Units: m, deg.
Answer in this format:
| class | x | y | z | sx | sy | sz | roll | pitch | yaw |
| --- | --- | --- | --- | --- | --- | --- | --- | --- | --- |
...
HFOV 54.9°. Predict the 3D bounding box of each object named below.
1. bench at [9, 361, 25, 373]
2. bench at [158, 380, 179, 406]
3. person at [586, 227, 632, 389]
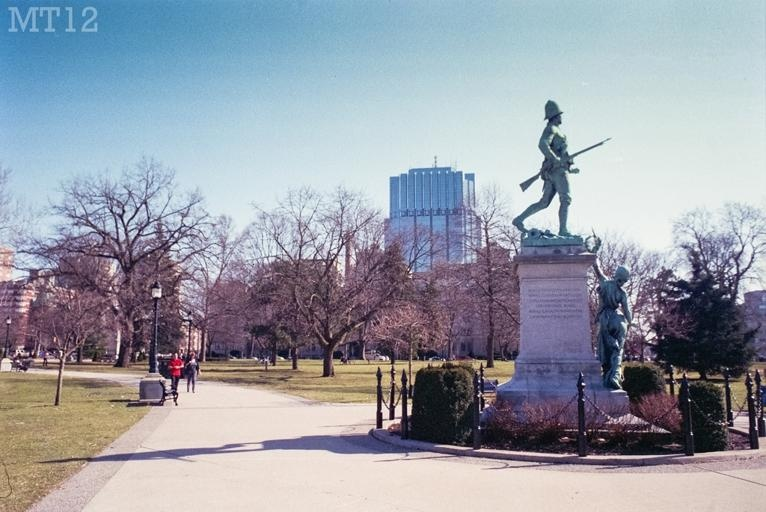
| class | x | y | z | sx | sy | sz | roll | pitch | yaw |
| --- | --- | --- | --- | --- | --- | --- | --- | --- | --- |
| bench | -25.571 | 7.736 | 51.661 | 1.034 | 0.736 | 0.579 | 1 | 0 | -4 |
| bench | -9.254 | 5.922 | 31.874 | 0.576 | 0.754 | 1.353 | 0 | -4 | -11 |
| person | 7.297 | 2.139 | 23.498 | 1.080 | 4.159 | 0.880 | -2 | -10 | 19 |
